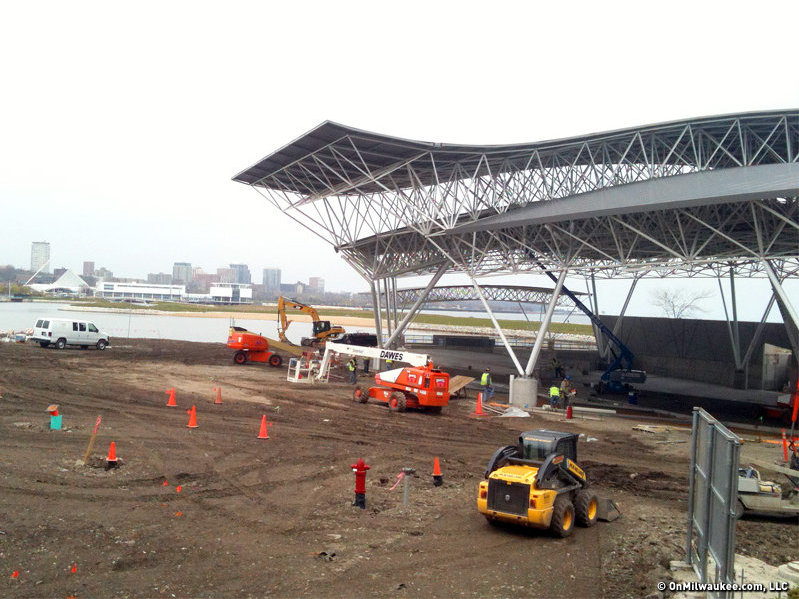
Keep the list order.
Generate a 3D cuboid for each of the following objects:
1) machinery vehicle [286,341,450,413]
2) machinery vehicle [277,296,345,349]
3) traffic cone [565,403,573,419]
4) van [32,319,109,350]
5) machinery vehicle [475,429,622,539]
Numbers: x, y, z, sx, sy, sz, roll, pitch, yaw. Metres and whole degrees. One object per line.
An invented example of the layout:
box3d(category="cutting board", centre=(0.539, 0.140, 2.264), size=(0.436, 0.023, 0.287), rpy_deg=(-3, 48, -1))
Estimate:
box3d(category="machinery vehicle", centre=(-1.795, 3.737, 29.896), size=(9.535, 2.393, 2.624), rpy_deg=(3, -8, 41))
box3d(category="machinery vehicle", centre=(-6.154, 1.569, 42.419), size=(5.434, 3.318, 1.585), rpy_deg=(-4, -3, 16))
box3d(category="traffic cone", centre=(7.925, 5.279, 28.428), size=(0.310, 0.698, 0.681), rpy_deg=(6, 1, 12))
box3d(category="van", centre=(-23.539, 2.477, 43.719), size=(4.247, 1.497, 2.547), rpy_deg=(-1, 2, -39))
box3d(category="machinery vehicle", centre=(3.501, 4.155, 14.199), size=(1.913, 1.479, 3.282), rpy_deg=(-1, 2, 39))
